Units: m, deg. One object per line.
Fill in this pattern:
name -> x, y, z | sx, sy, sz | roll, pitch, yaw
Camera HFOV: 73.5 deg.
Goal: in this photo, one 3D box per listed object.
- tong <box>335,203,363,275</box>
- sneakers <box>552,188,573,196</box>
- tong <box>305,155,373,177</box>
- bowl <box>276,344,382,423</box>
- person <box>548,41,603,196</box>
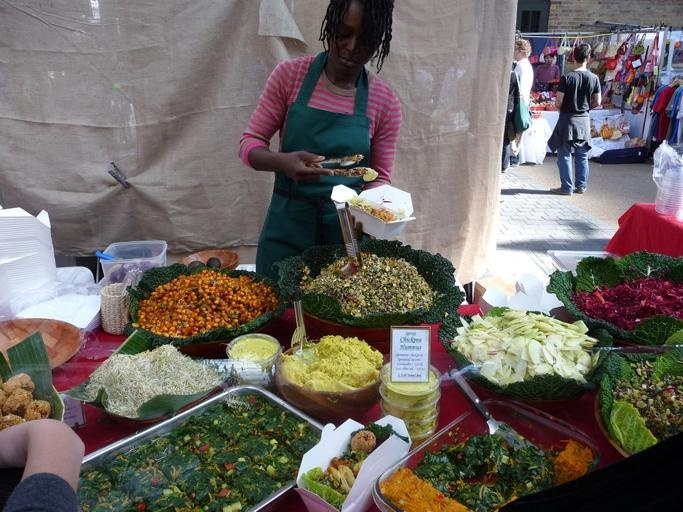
tong -> 0.026, -0.085, 2.255 | 0.129, 0.330, 0.098 | -12, 21, -30
sneakers -> 4.044, -1.176, 8.400 | 0.124, 0.113, 0.308 | -4, 14, -24
tong -> 0.039, -0.523, 2.634 | 0.476, 0.070, 0.128 | -2, 60, -14
bowl -> -0.039, 0.482, 1.877 | 0.390, 0.180, 0.349 | 1, 18, 4
person -> 4.072, -2.302, 7.989 | 0.852, 2.436, 1.231 | 4, 6, 34
